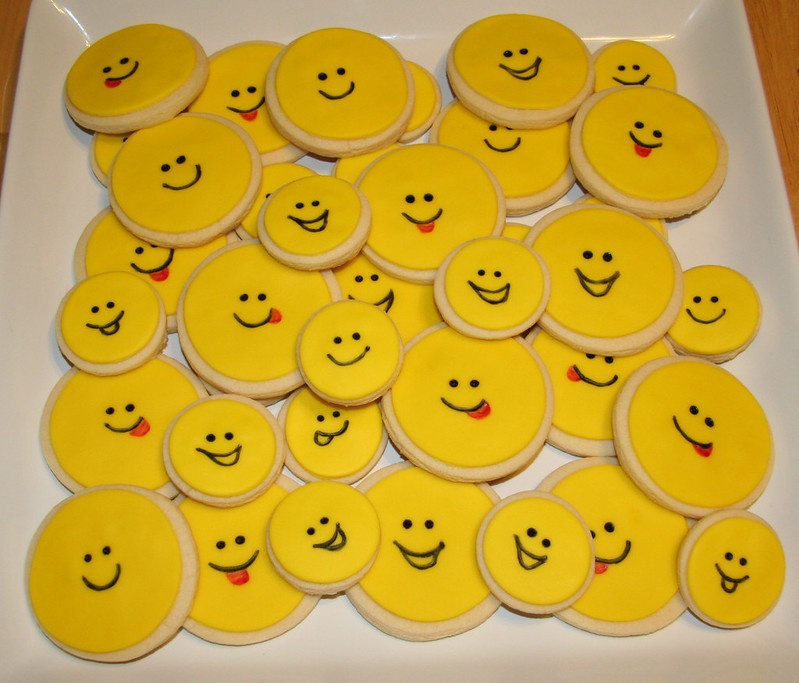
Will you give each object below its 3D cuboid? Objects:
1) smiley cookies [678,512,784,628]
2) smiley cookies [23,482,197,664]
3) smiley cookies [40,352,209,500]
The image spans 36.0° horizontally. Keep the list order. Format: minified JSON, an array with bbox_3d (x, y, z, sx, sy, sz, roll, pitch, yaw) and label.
[{"bbox_3d":[0.696,0.469,2.591,0.216,0.224,0.063,5,-19,-16],"label":"smiley cookies"},{"bbox_3d":[-0.595,0.471,2.556,0.346,0.346,0.056,-3,-18,7],"label":"smiley cookies"},{"bbox_3d":[-0.635,0.195,2.699,0.313,0.343,0.089,25,-52,-10],"label":"smiley cookies"}]
